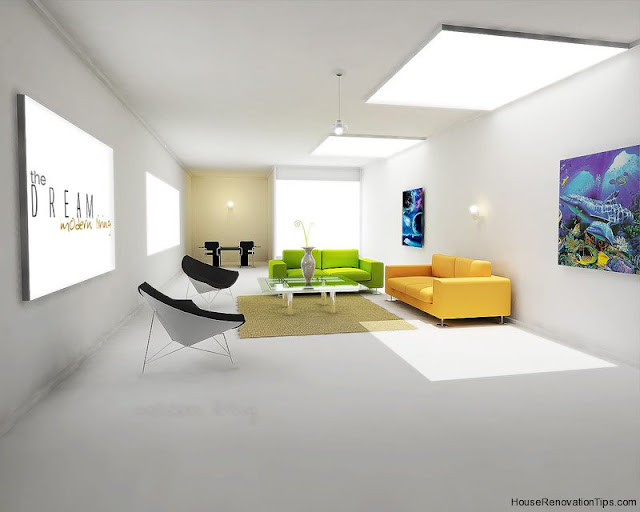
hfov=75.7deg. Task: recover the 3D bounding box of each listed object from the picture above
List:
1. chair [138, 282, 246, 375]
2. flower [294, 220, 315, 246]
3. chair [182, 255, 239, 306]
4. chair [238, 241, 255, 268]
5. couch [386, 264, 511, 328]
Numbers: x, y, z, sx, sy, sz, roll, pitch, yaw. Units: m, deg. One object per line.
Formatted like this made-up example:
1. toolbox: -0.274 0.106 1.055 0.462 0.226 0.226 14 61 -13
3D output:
1. chair: -1.253 0.605 4.014 0.896 0.867 1.020 0 0 -29
2. flower: -0.429 -0.643 11.118 0.349 0.688 0.523 4 7 37
3. chair: -1.828 0.319 6.543 0.840 0.643 0.877 7 6 18
4. chair: -2.312 -0.072 12.916 0.694 1.017 0.645 0 3 -12
5. couch: 1.830 0.437 6.348 1.128 0.857 2.049 -2 6 -15
